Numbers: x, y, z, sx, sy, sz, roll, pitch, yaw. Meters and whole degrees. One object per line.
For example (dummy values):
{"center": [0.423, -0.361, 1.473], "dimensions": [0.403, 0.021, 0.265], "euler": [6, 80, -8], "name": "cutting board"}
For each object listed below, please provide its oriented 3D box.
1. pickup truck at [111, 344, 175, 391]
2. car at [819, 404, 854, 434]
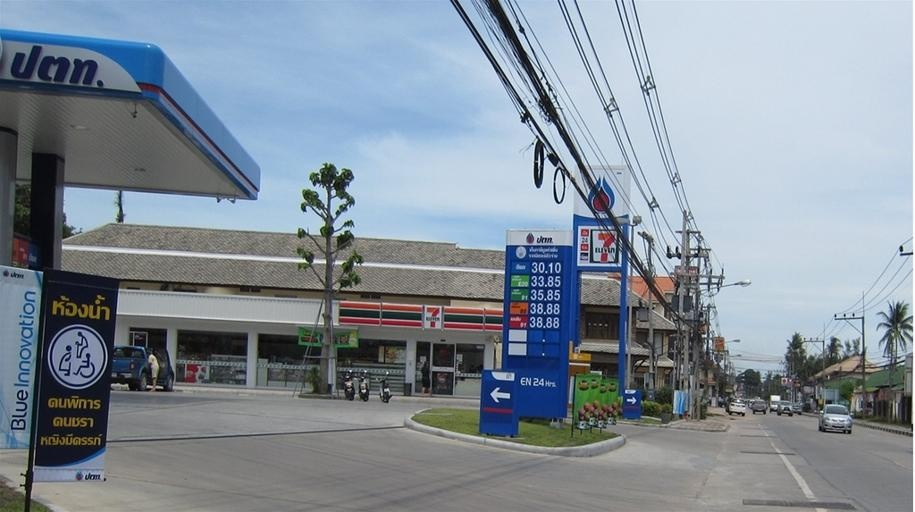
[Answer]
{"center": [-15.583, 5.424, 45.098], "dimensions": [1.328, 2.120, 3.657], "euler": [-3, -13, 19], "name": "pickup truck"}
{"center": [23.317, 9.845, 56.228], "dimensions": [1.236, 1.104, 2.474], "euler": [-3, -23, 14], "name": "car"}
